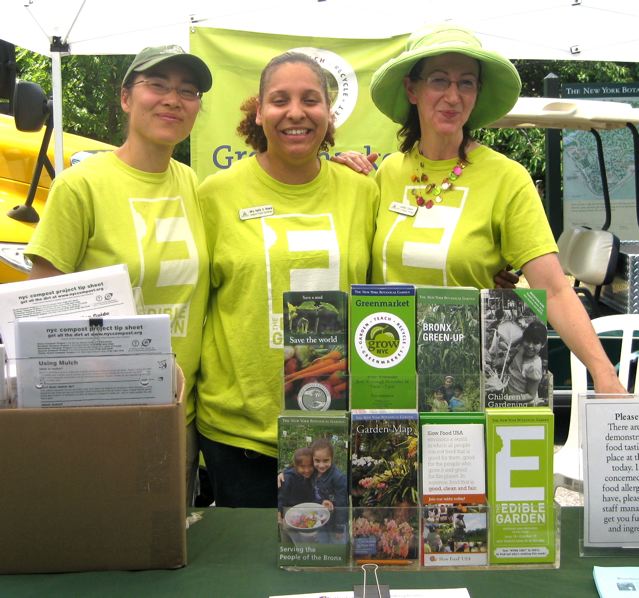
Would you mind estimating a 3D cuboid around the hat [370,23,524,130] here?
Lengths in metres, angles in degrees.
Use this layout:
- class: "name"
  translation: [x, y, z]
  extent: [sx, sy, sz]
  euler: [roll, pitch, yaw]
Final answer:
- class: "hat"
  translation: [0.401, -0.721, 2.210]
  extent: [0.352, 0.172, 0.369]
  euler: [-9, -37, 17]
